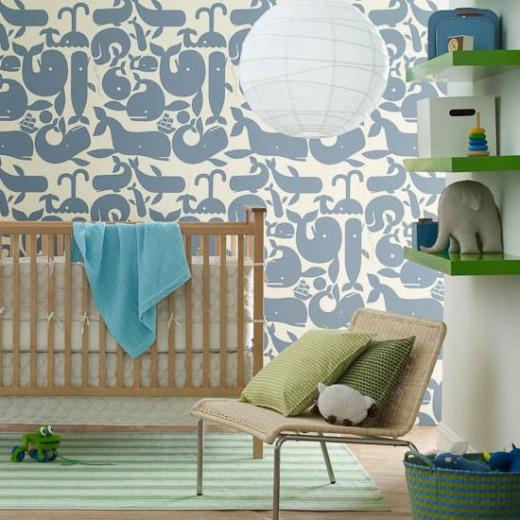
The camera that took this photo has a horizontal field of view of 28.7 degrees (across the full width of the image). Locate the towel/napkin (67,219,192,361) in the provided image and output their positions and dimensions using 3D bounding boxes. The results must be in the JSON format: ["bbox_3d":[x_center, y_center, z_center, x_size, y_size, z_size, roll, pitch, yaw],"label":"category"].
[{"bbox_3d":[-0.548,0.126,4.135,0.528,0.654,0.093,0,-6,-4],"label":"towel/napkin"}]

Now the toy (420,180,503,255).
[{"bbox_3d":[0.753,-0.142,3.700,0.262,0.259,0.158,-5,-4,6],"label":"toy"}]

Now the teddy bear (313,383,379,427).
[{"bbox_3d":[0.307,0.527,3.652,0.235,0.139,0.191,7,5,18],"label":"teddy bear"}]

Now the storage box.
[{"bbox_3d":[0.780,-0.502,3.827,0.344,0.233,0.348,8,13,34],"label":"storage box"}]

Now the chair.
[{"bbox_3d":[0.205,0.522,3.817,0.814,0.782,0.704,3,-3,-31],"label":"chair"}]

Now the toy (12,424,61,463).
[{"bbox_3d":[-0.913,0.759,4.162,0.169,0.132,0.150,-13,-13,32],"label":"toy"}]
